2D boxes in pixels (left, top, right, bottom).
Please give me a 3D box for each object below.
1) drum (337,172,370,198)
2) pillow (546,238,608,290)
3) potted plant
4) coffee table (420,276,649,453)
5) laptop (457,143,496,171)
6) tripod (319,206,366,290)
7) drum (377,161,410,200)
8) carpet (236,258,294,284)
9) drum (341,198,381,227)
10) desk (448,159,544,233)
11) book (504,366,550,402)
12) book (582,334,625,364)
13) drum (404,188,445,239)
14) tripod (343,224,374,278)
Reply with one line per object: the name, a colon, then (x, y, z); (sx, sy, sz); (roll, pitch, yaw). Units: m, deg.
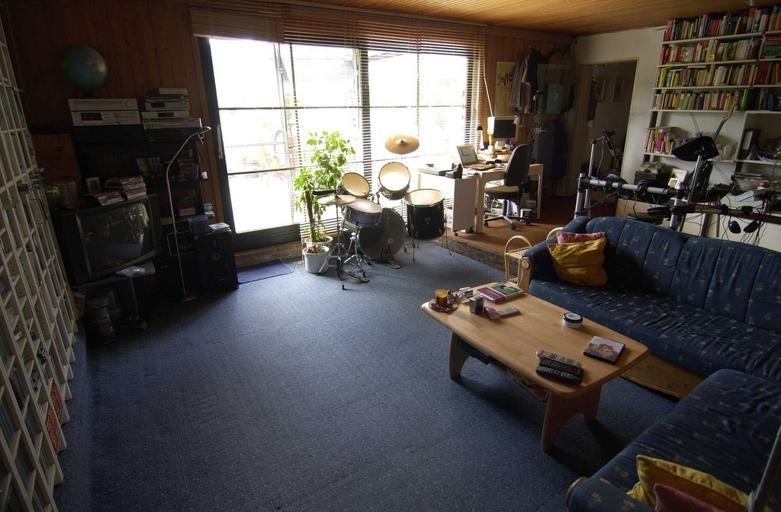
drum: (-0.454, -0.872, 6.217); (0.324, 0.292, 0.398); (0, 19, 8)
pillow: (1.833, 0.096, 4.906); (0.489, 0.460, 0.187); (0, -10, 21)
potted plant: (-0.775, -0.816, 6.408); (0.860, 1.505, 0.816); (-15, 23, -31)
coffee table: (1.093, 0.962, 4.370); (1.283, 0.811, 1.789); (-12, 21, -37)
laptop: (1.178, -1.387, 7.143); (0.500, 0.301, 0.484); (-20, 34, -37)
tripod: (-0.613, -0.078, 6.332); (0.635, 0.904, 0.635); (17, 42, 23)
drum: (0.000, -0.970, 6.647); (0.501, 0.456, 0.315); (-15, -9, -12)
carpet: (-1.600, 0.197, 6.300); (0.687, 0.055, 0.460); (-11, 21, -24)
drum: (-0.348, -0.505, 5.873); (0.344, 0.130, 0.348); (4, 15, -1)
desk: (1.509, -0.927, 7.685); (0.954, 1.206, 1.714); (-6, 18, -18)
book: (1.096, 1.012, 4.019); (0.229, 0.055, 0.224); (27, -5, 32)
book: (1.654, 0.725, 3.889); (0.265, 0.094, 0.266); (10, 22, 31)
drum: (0.499, -0.582, 6.654); (0.586, 0.548, 0.584); (-3, 15, 8)
tripod: (-0.405, -0.056, 6.422); (0.414, 0.527, 0.418); (-17, 31, -25)
